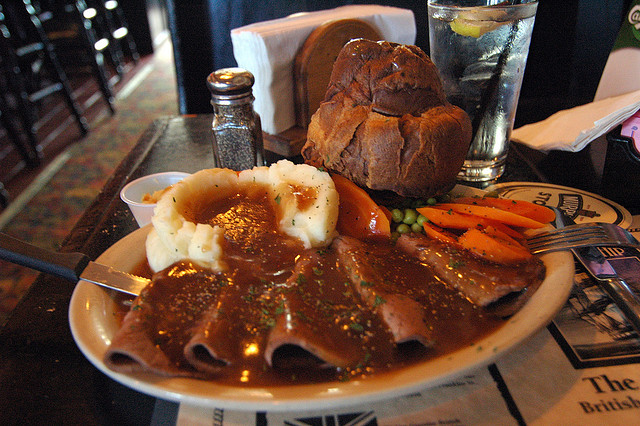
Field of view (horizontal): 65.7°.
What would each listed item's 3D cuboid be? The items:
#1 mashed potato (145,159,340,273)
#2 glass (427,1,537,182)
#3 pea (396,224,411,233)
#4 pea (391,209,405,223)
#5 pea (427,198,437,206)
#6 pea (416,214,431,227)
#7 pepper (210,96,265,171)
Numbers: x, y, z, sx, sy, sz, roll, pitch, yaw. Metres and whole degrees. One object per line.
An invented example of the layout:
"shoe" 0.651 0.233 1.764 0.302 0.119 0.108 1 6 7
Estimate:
"mashed potato" -0.244 -0.053 1.652 0.513 0.359 0.539 -7 17 -8
"glass" 0.576 -0.462 1.881 0.390 0.616 0.324 6 41 9
"pea" 0.286 0.053 1.674 0.030 0.030 0.029 0 0 -17
"pea" 0.266 0.007 1.689 0.039 0.045 0.038 3 5 0
"pea" 0.390 -0.040 1.715 0.024 0.027 0.024 -3 13 -8
"pea" 0.345 0.022 1.663 0.037 0.042 0.036 6 4 -11
"pepper" -0.333 -0.337 1.992 0.214 0.349 0.208 9 40 11
